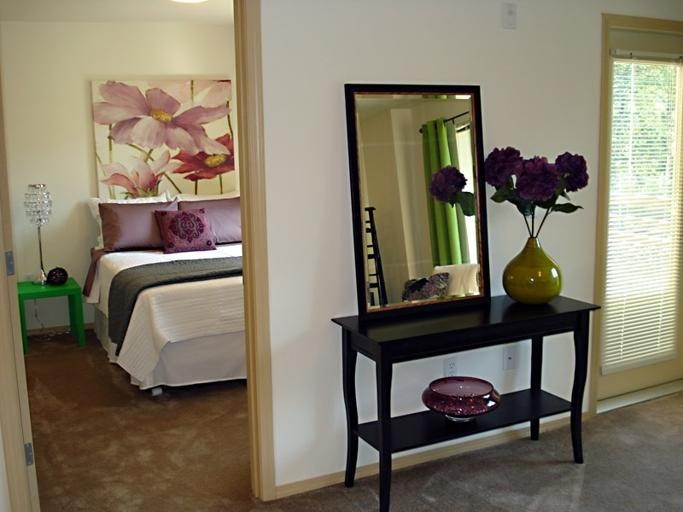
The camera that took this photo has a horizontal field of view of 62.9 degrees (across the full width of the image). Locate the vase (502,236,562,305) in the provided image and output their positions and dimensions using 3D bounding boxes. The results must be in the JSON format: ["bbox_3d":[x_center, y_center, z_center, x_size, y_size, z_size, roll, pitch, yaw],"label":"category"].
[{"bbox_3d":[1.032,0.084,3.033,0.325,0.355,0.326,-1,13,13],"label":"vase"}]

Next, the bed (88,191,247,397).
[{"bbox_3d":[-1.451,0.114,4.568,1.272,0.953,1.739,-5,11,-24],"label":"bed"}]

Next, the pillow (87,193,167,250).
[{"bbox_3d":[-2.010,-0.288,5.192,0.489,0.342,0.172,-9,7,-22],"label":"pillow"}]

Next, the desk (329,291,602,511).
[{"bbox_3d":[0.593,0.775,2.921,0.920,0.670,0.337,-8,17,-26],"label":"desk"}]

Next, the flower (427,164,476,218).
[{"bbox_3d":[0.588,-0.338,3.067,0.201,0.279,0.144,-34,12,-1],"label":"flower"}]

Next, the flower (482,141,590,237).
[{"bbox_3d":[0.987,-0.365,3.023,0.505,0.444,0.500,-6,9,-38],"label":"flower"}]
